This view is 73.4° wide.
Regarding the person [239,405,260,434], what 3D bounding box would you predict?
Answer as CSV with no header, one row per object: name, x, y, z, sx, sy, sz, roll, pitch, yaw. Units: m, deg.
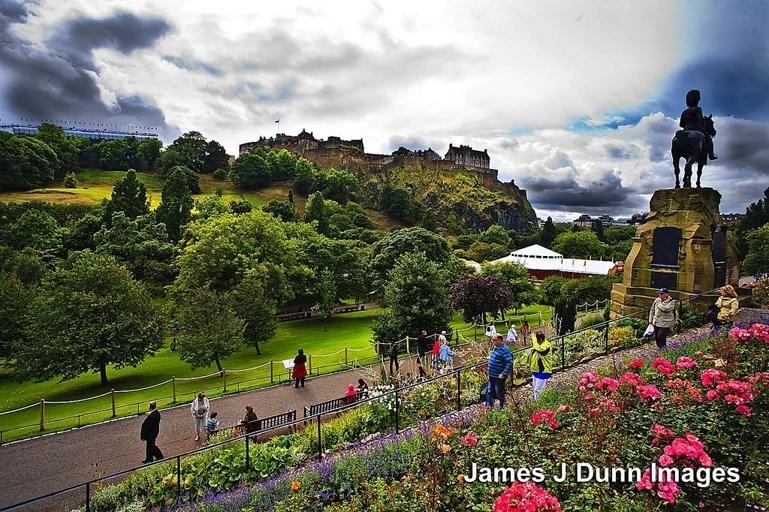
person,-5.570,6.736,21.316,0.791,0.976,1.377,-6,3,-17

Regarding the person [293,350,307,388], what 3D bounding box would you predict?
person,-4.516,5.907,27.029,0.649,1.689,1.396,-6,3,-17

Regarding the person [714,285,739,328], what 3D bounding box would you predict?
person,13.256,1.961,19.882,0.676,1.607,1.036,-4,3,27

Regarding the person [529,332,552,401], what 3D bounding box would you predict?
person,5.615,3.940,18.442,0.760,2.425,1.188,-5,3,15
